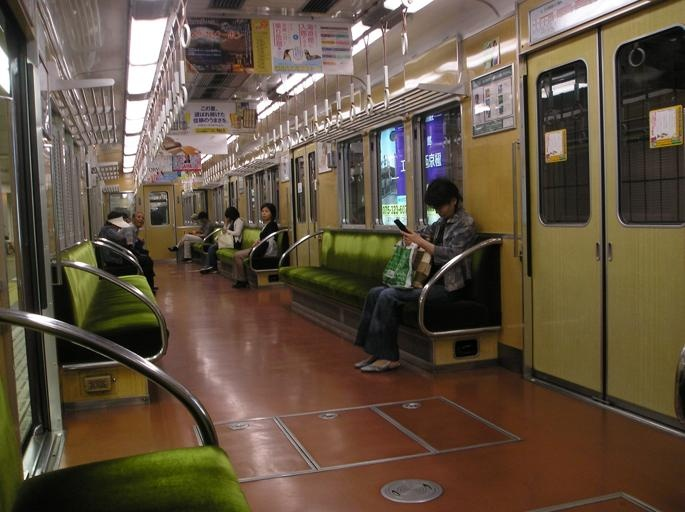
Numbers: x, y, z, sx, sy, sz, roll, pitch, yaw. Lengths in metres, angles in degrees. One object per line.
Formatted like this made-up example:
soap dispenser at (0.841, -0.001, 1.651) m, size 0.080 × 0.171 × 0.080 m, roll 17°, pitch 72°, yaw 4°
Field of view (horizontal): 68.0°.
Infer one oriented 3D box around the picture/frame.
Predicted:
picture/frame at (1.373, -1.410, 4.589) m, size 0.066 × 0.783 × 0.704 m, roll 1°, pitch -3°, yaw -19°

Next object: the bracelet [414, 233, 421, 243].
bracelet at (0.696, -0.169, 4.798) m, size 0.075 × 0.069 × 0.084 m, roll 0°, pitch 5°, yaw 15°

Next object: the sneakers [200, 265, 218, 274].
sneakers at (-3.537, 0.374, 13.000) m, size 0.598 × 0.286 × 0.239 m, roll 3°, pitch -4°, yaw -6°

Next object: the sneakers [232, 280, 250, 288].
sneakers at (-2.030, 0.595, 10.205) m, size 0.389 × 0.205 × 0.137 m, roll 12°, pitch -11°, yaw -25°

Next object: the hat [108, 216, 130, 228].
hat at (-4.171, -0.616, 9.407) m, size 0.273 × 0.091 × 0.285 m, roll 25°, pitch 1°, yaw -19°

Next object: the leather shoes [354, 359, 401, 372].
leather shoes at (0.312, 1.022, 4.696) m, size 0.234 × 0.100 × 0.178 m, roll 5°, pitch -8°, yaw -14°

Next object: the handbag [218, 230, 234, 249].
handbag at (-2.841, -0.385, 12.311) m, size 0.389 × 0.437 × 0.189 m, roll 0°, pitch -2°, yaw 9°

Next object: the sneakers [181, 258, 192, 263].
sneakers at (-5.195, 0.169, 16.786) m, size 0.307 × 0.165 × 0.131 m, roll 4°, pitch -4°, yaw -7°
